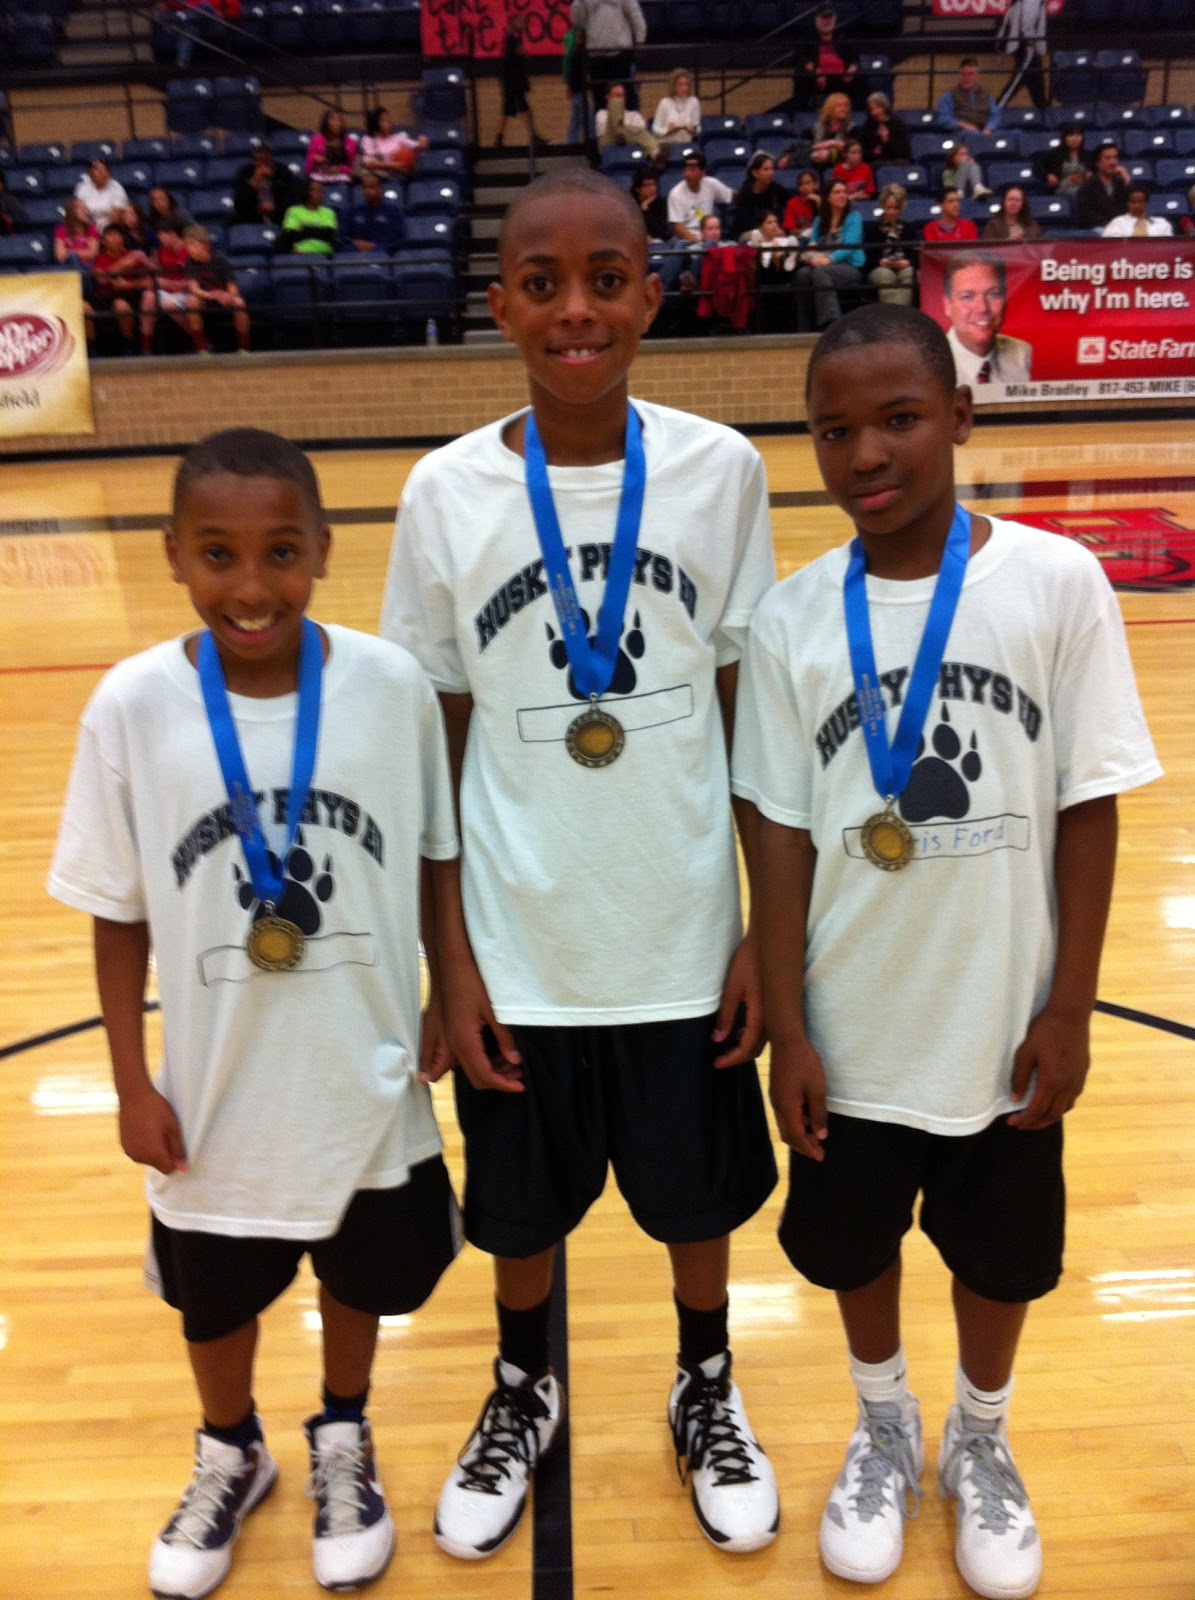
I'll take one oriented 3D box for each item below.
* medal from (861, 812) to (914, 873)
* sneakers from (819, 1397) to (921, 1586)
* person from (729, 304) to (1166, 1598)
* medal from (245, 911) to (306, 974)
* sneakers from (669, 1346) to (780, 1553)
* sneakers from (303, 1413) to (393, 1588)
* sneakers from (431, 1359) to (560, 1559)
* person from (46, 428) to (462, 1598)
[{"bbox_3d":[0.285,0.043,1.437,0.053,0.052,0.013,-11,-1,43],"label":"medal"},{"bbox_3d":[0.293,0.743,1.575,0.077,0.077,0.198,2,24,15],"label":"sneakers"},{"bbox_3d":[0.341,0.024,1.480,0.404,1.000,0.248,-1,17,4],"label":"person"},{"bbox_3d":[-0.315,0.140,1.440,0.055,0.060,0.023,-4,17,-10],"label":"medal"},{"bbox_3d":[0.138,0.731,1.641,0.077,0.080,0.209,-14,13,1],"label":"sneakers"},{"bbox_3d":[-0.268,0.756,1.604,0.067,0.070,0.181,-3,30,-4],"label":"sneakers"},{"bbox_3d":[-0.095,0.741,1.676,0.080,0.100,0.225,12,21,9],"label":"sneakers"},{"bbox_3d":[-0.336,0.233,1.520,0.402,1.198,0.310,-4,17,-6],"label":"person"}]
